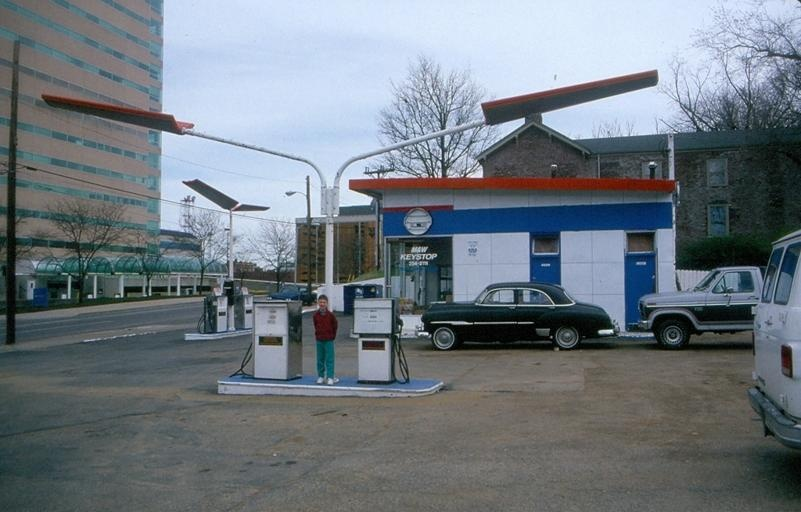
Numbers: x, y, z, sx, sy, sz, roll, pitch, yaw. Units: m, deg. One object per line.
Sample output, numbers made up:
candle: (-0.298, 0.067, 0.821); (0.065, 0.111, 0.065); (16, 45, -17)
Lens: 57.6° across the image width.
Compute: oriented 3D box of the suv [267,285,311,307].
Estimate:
suv: (-6.883, 2.440, 46.120); (1.804, 1.116, 3.205); (-3, -8, 24)
